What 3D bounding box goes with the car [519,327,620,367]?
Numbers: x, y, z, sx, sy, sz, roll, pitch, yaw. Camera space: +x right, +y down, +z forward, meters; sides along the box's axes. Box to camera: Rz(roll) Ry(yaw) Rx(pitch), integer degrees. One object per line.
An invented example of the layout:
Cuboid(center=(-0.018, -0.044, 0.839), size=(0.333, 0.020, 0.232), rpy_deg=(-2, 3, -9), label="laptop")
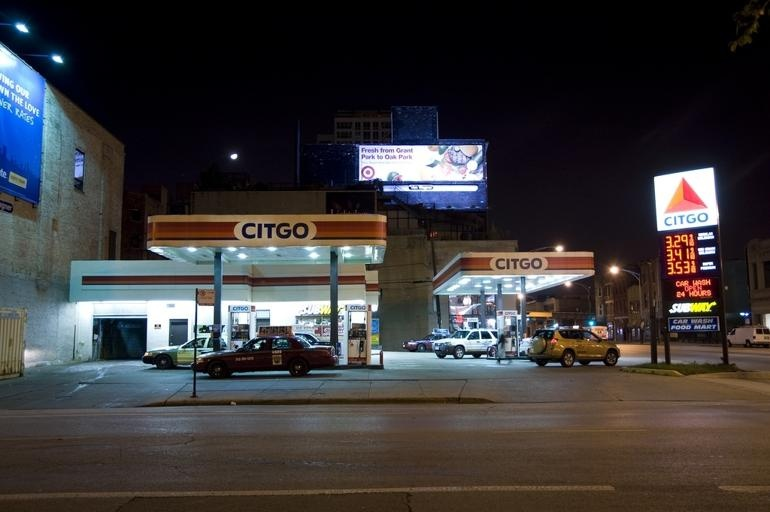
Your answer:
Cuboid(center=(9.696, 4.641, 35.416), size=(4.016, 1.684, 2.060), rpy_deg=(-3, -2, -17), label="car")
